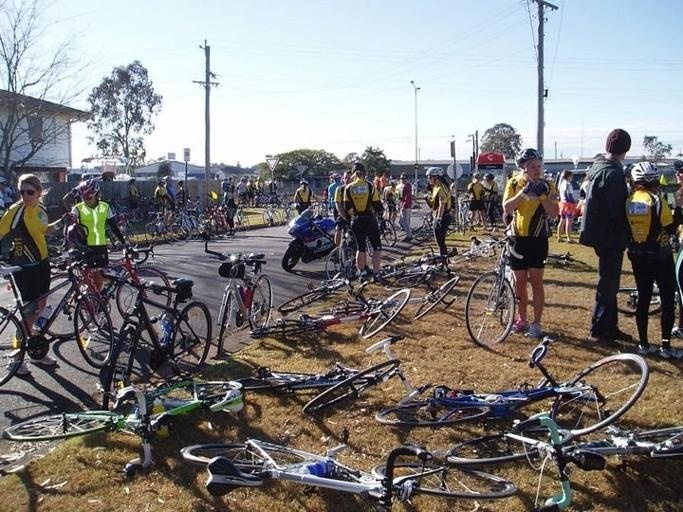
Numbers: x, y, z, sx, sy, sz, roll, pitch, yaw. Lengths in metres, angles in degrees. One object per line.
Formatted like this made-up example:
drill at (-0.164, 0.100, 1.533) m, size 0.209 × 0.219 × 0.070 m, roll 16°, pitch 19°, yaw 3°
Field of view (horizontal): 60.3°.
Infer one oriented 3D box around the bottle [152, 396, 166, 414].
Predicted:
bottle at (-1.790, 1.455, 5.716) m, size 0.106 × 0.112 × 0.113 m, roll -6°, pitch -11°, yaw 19°

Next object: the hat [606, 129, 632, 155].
hat at (3.367, -1.361, 7.116) m, size 0.239 × 0.303 × 0.181 m, roll 1°, pitch 7°, yaw 13°

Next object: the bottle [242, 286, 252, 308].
bottle at (-1.325, 0.589, 8.230) m, size 0.054 × 0.247 × 0.122 m, roll 3°, pitch 2°, yaw -34°

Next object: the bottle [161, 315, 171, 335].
bottle at (-2.077, 0.812, 6.920) m, size 0.123 × 0.195 × 0.056 m, roll -6°, pitch 1°, yaw 34°

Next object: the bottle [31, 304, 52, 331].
bottle at (-3.685, 0.779, 7.199) m, size 0.154 × 0.079 × 0.334 m, roll 20°, pitch 50°, yaw -9°

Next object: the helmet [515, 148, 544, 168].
helmet at (2.355, -1.223, 7.392) m, size 0.307 × 0.218 × 0.288 m, roll 2°, pitch 8°, yaw 24°

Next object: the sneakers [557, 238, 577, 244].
sneakers at (6.408, -0.414, 16.664) m, size 0.509 × 0.230 × 0.164 m, roll -2°, pitch 5°, yaw 32°

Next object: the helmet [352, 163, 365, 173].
helmet at (0.312, -1.567, 10.605) m, size 0.139 × 0.204 × 0.173 m, roll -1°, pitch 1°, yaw 44°

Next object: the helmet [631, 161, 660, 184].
helmet at (3.522, -0.999, 6.814) m, size 0.215 × 0.300 × 0.299 m, roll 6°, pitch 30°, yaw 22°

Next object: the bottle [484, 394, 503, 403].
bottle at (1.480, 1.375, 5.696) m, size 0.173 × 0.051 × 0.128 m, roll 0°, pitch 7°, yaw 3°

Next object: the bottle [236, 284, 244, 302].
bottle at (-1.381, 0.519, 8.103) m, size 0.039 × 0.182 × 0.125 m, roll -8°, pitch 19°, yaw 14°

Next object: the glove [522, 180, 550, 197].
glove at (2.375, -0.811, 7.157) m, size 0.184 × 0.125 × 0.257 m, roll -1°, pitch 15°, yaw 18°

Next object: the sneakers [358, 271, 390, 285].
sneakers at (0.538, 0.363, 9.807) m, size 0.590 × 0.288 × 0.215 m, roll -1°, pitch 13°, yaw 8°

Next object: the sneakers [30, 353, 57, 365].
sneakers at (-3.823, 1.314, 7.496) m, size 0.301 × 0.148 × 0.139 m, roll -1°, pitch 2°, yaw -6°

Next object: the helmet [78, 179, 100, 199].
helmet at (-3.724, -0.972, 8.629) m, size 0.242 × 0.324 × 0.319 m, roll 7°, pitch -3°, yaw -19°

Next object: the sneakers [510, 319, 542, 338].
sneakers at (2.440, 0.954, 7.703) m, size 0.449 × 0.198 × 0.167 m, roll 8°, pitch -4°, yaw -29°
